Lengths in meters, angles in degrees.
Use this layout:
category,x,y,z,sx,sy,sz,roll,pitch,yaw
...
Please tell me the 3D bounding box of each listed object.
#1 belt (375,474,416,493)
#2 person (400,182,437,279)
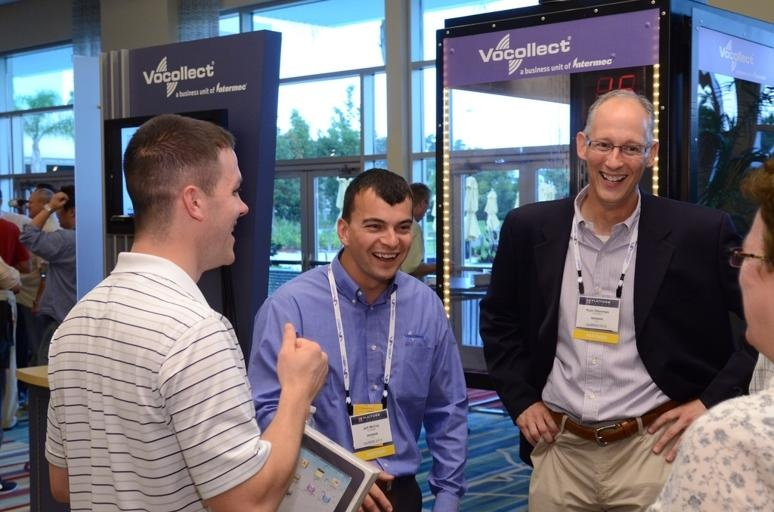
category,x,y,z,sx,sy,sz,roll,pitch,yaw
belt,0.037,0.885,2.396,0.103,0.037,0.075,1,-6,-24
person,0.326,-0.244,6.075,0.447,0.898,0.499,3,2,-3
